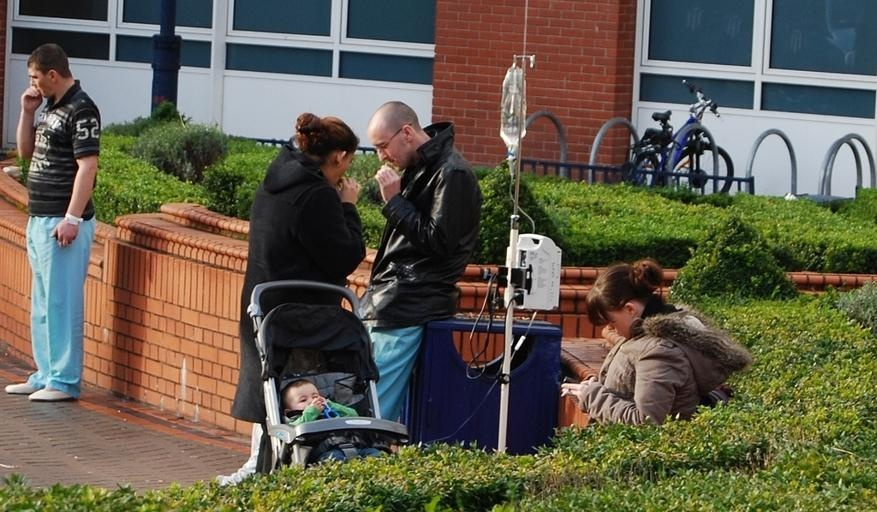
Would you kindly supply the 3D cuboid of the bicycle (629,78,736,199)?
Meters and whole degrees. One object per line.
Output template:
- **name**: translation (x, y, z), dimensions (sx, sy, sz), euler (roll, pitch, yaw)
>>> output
- **bicycle**: translation (3.611, -1.662, 26.645), dimensions (2.219, 1.470, 1.174), euler (-12, 20, -41)

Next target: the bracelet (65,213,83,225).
- **bracelet**: translation (-4.434, -0.443, 21.999), dimensions (0.216, 0.127, 0.114), euler (1, 3, -22)
